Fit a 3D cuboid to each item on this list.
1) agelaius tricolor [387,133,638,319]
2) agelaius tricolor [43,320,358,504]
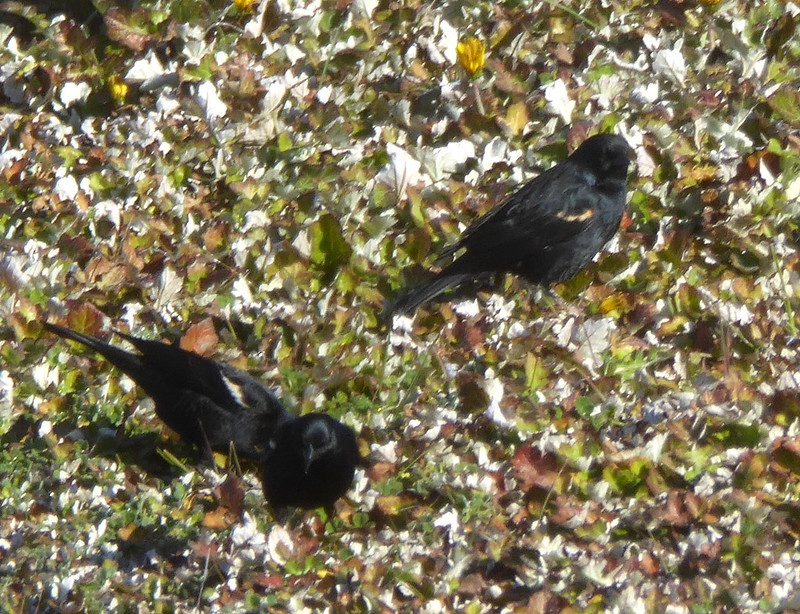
[{"bbox_3d":[0.492,-0.333,4.679,1.240,0.698,0.417,-10,18,6],"label":"agelaius tricolor"},{"bbox_3d":[-0.658,0.429,4.232,1.342,0.540,0.405,31,13,-7],"label":"agelaius tricolor"}]
